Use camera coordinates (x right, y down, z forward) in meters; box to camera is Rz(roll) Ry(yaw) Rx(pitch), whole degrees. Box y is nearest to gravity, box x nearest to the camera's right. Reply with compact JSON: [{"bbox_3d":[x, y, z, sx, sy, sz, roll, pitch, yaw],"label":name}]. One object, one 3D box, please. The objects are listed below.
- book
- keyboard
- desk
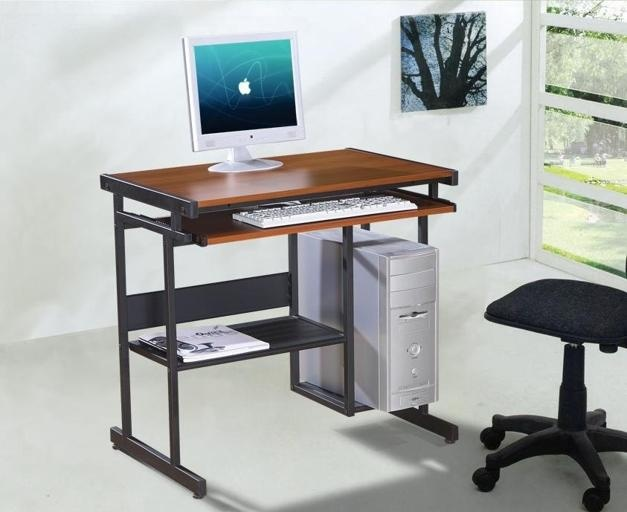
[{"bbox_3d":[-0.392,0.325,2.443,0.335,0.032,0.382,-11,16,-38],"label":"book"},{"bbox_3d":[0.053,-0.168,2.317,0.644,0.052,0.257,-8,15,-27],"label":"keyboard"},{"bbox_3d":[-0.135,0.218,2.600,1.174,1.079,0.758,-9,15,-40],"label":"desk"}]
